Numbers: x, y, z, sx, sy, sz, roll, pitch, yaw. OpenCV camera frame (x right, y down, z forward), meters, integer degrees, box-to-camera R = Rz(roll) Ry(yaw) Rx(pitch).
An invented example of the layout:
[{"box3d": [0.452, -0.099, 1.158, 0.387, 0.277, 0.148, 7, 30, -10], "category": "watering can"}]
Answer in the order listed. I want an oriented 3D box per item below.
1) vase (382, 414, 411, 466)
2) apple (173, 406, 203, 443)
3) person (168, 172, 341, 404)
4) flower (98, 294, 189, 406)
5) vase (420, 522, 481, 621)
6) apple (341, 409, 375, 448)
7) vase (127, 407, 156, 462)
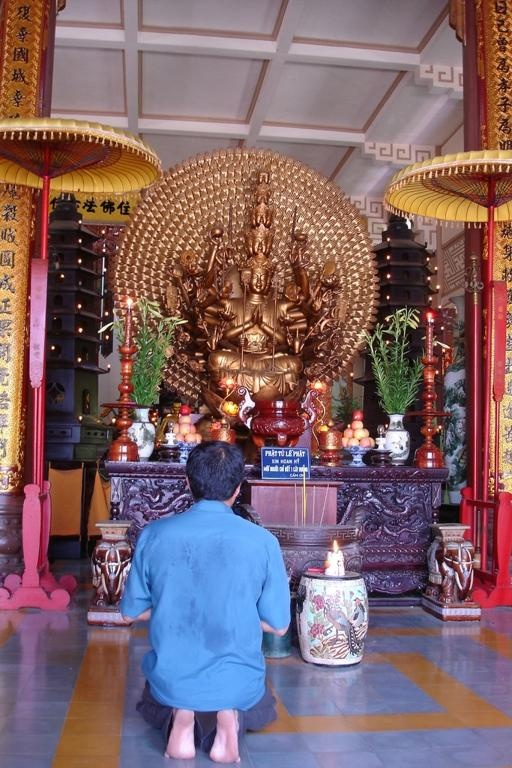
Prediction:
[{"box3d": [0.682, 0.268, 3.086, 0.150, 0.240, 0.150, 1, 0, 39], "category": "vase"}, {"box3d": [-0.297, 0.205, 3.010, 0.171, 0.231, 0.168, 0, -12, -1], "category": "apple"}, {"box3d": [-0.017, -0.594, 3.686, 0.992, 1.364, 0.540, -2, -3, 8], "category": "person"}, {"box3d": [-0.589, -0.172, 3.181, 0.449, 0.566, 0.373, 5, -3, -10], "category": "flower"}, {"box3d": [0.805, 0.770, 2.566, 0.170, 0.331, 0.297, 5, -8, -4], "category": "vase"}, {"box3d": [0.482, 0.225, 3.042, 0.158, 0.170, 0.174, 6, -5, -44], "category": "apple"}, {"box3d": [-0.537, 0.228, 2.955, 0.152, 0.254, 0.149, 4, 5, 16], "category": "vase"}]
